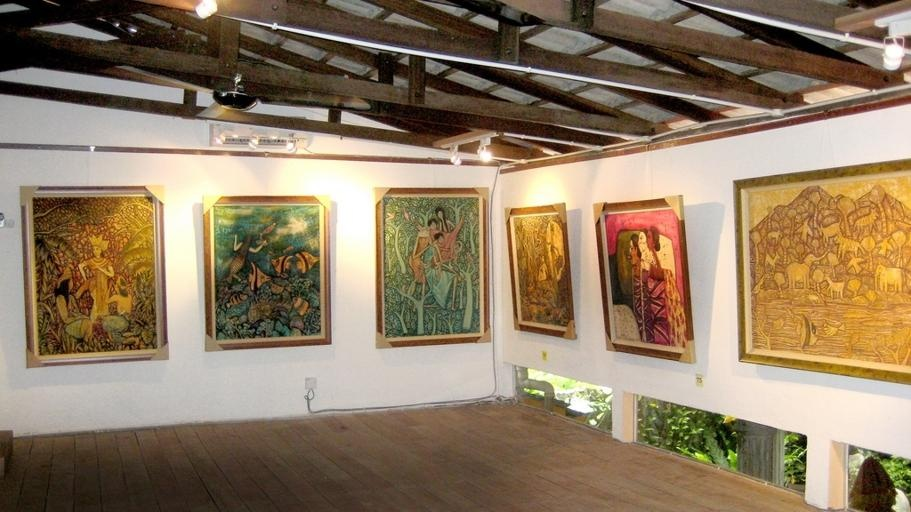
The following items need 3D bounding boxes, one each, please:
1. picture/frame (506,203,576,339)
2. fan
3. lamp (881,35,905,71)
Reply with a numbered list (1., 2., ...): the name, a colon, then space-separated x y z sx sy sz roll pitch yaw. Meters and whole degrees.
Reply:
1. picture/frame: 1.645 0.239 11.307 0.144 2.478 1.553 -8 11 -41
2. fan: -2.804 -2.337 8.546 2.912 0.489 1.216 -5 8 -35
3. lamp: 4.584 -2.160 6.270 0.183 0.297 0.463 5 9 35
